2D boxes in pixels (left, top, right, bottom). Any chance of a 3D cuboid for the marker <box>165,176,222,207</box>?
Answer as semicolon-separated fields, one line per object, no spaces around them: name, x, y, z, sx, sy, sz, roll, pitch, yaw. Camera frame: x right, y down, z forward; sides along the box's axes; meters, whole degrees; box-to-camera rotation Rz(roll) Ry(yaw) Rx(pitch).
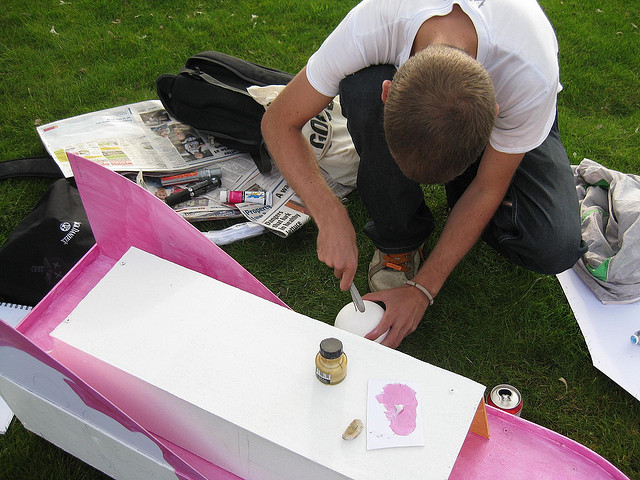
marker;-0.607;-0.230;2.431;0.282;0.066;0.048;-30;60;-16

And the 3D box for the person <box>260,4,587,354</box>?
person;0.412;-0.273;1.904;1.238;1.085;0.985;-4;56;0

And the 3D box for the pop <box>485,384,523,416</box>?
pop;0.658;0.567;1.803;0.101;0.109;0.114;8;57;13

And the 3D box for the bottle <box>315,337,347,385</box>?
bottle;0.032;0.357;1.503;0.093;0.118;0.099;-1;32;0

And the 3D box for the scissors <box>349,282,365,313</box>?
scissors;0.147;0.222;1.853;0.030;0.149;0.035;-24;20;-11
